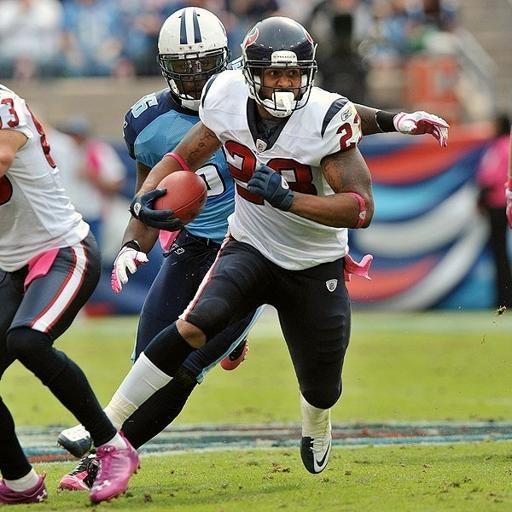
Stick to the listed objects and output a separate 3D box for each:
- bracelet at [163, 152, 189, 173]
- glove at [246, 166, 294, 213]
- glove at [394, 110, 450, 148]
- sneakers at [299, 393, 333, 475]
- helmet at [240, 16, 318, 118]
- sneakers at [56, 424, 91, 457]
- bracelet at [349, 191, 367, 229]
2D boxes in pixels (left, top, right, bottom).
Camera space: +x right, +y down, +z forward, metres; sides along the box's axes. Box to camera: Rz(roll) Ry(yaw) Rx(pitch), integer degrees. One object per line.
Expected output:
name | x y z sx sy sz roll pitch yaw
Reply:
bracelet | -0.343 -0.412 3.365 0.037 0.100 0.077 -49 7 -20
glove | 0.077 -0.246 2.894 0.081 0.214 0.112 -21 42 58
glove | 0.732 -0.579 3.513 0.255 0.082 0.161 30 34 34
sneakers | 0.267 0.812 3.428 0.139 0.347 0.171 -1 8 15
helmet | 0.096 -0.779 3.109 0.305 0.453 0.338 -4 5 1
sneakers | -0.803 0.816 3.312 0.086 0.094 0.191 3 -4 -12
bracelet | 0.406 -0.176 2.977 0.055 0.143 0.141 -4 5 8
